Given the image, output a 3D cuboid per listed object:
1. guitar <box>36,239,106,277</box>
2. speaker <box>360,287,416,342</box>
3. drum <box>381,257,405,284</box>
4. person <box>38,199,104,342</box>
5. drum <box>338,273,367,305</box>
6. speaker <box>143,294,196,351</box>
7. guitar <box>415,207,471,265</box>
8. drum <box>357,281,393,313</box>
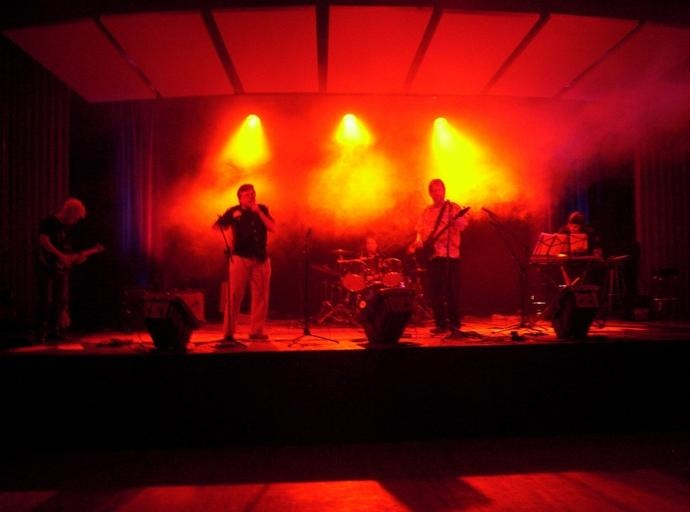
[{"bbox_3d":[-3.686,-0.049,8.091,0.267,0.250,0.920,-41,-2,19],"label":"guitar"},{"bbox_3d":[0.429,0.733,7.005,0.469,0.677,0.677,8,-25,-20],"label":"speaker"},{"bbox_3d":[0.770,0.304,9.472,0.336,0.397,0.399,-2,-51,5],"label":"drum"},{"bbox_3d":[-3.768,0.157,7.916,0.596,1.870,0.369,7,-10,-41],"label":"person"},{"bbox_3d":[0.119,0.518,9.467,0.414,0.485,0.453,3,-1,0],"label":"drum"},{"bbox_3d":[-1.934,0.740,6.585,0.576,0.616,0.363,1,-8,-3],"label":"speaker"},{"bbox_3d":[1.268,-0.337,7.812,0.645,0.820,0.434,0,-8,6],"label":"guitar"},{"bbox_3d":[0.412,0.523,7.937,0.342,0.276,0.489,16,-38,-24],"label":"drum"}]
